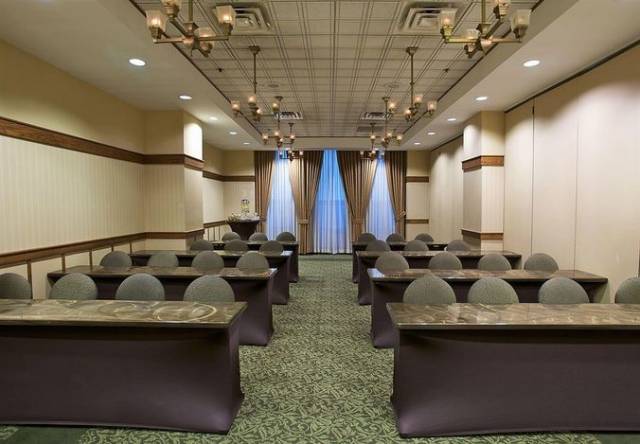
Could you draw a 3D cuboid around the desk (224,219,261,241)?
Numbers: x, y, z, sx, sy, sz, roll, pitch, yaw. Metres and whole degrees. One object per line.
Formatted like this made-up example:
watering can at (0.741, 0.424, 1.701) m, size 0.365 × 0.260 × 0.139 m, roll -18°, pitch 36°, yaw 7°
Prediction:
desk at (-1.819, 0.189, 9.717) m, size 0.569 × 0.365 × 0.546 m, roll 0°, pitch 1°, yaw -1°
